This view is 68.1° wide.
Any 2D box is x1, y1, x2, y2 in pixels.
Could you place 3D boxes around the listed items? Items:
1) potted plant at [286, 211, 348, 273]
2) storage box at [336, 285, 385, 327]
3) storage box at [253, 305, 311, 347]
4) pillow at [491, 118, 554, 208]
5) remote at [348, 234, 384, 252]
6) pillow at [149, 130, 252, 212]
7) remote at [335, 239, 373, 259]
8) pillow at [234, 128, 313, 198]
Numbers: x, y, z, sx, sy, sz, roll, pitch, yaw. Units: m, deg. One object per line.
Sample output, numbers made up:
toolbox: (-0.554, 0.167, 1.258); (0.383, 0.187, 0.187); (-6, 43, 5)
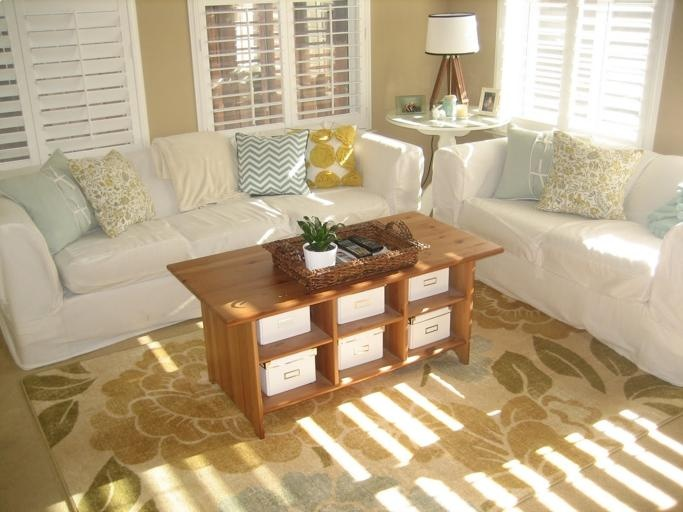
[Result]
potted plant: (-0.102, -0.091, 2.506); (0.284, 0.284, 0.273); (4, 19, 13)
storage box: (0.092, 0.249, 2.517); (0.277, 0.149, 0.181); (-14, 27, -28)
storage box: (-0.273, 0.329, 2.368); (0.263, 0.122, 0.181); (-14, 28, -31)
pillow: (1.289, -0.651, 3.543); (0.168, 0.450, 0.525); (6, 8, -28)
remote: (0.127, -0.071, 2.625); (0.084, 0.028, 0.150); (-12, 24, -33)
pillow: (-1.020, -0.616, 3.624); (0.671, 0.577, 0.173); (-18, 1, -33)
remote: (0.056, -0.039, 2.573); (0.089, 0.041, 0.188); (-12, 26, -30)
pillow: (-0.506, -0.669, 3.754); (0.593, 0.490, 0.201); (-4, 0, -6)
